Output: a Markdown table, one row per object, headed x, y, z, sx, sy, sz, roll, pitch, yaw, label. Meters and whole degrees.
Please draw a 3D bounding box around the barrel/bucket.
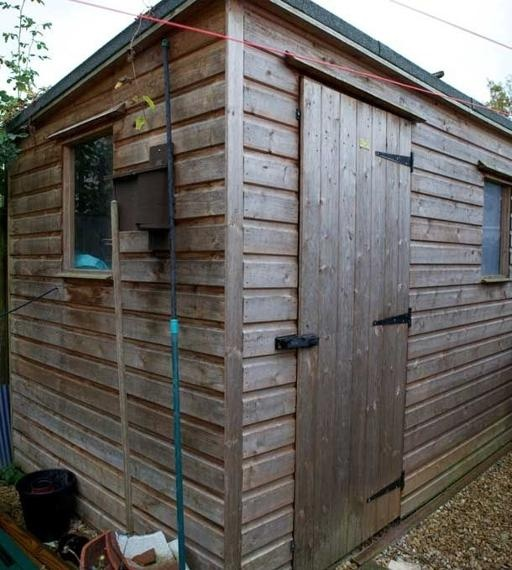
| x | y | z | sx | sy | sz | roll | pitch | yaw | label |
| --- | --- | --- | --- | --- | --- | --- | --- | --- | --- |
| -1.416 | 1.466 | 3.433 | 0.369 | 0.403 | 0.392 | 0 | 0 | 0 | barrel/bucket |
